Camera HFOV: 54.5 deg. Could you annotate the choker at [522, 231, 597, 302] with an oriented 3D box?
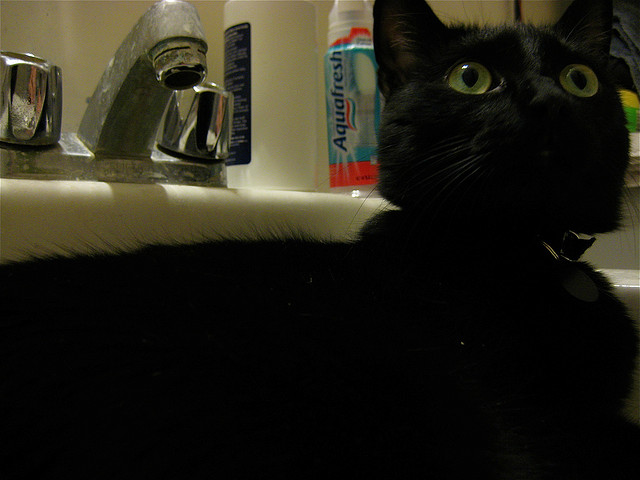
[{"bbox_3d":[0.184,0.025,0.511,0.056,0.020,0.057,44,15,-6],"label":"choker"}]
